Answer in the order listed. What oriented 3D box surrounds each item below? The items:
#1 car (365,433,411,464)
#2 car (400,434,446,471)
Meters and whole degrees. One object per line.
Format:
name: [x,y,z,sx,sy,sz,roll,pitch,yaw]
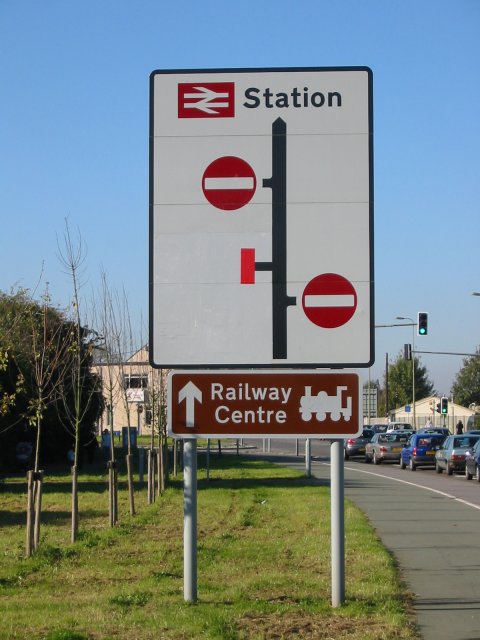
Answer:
car: [5.018,4.453,40.523,0.653,0.775,1.893,-1,-1,0]
car: [5.561,4.035,36.120,0.628,0.914,1.620,-1,1,1]
